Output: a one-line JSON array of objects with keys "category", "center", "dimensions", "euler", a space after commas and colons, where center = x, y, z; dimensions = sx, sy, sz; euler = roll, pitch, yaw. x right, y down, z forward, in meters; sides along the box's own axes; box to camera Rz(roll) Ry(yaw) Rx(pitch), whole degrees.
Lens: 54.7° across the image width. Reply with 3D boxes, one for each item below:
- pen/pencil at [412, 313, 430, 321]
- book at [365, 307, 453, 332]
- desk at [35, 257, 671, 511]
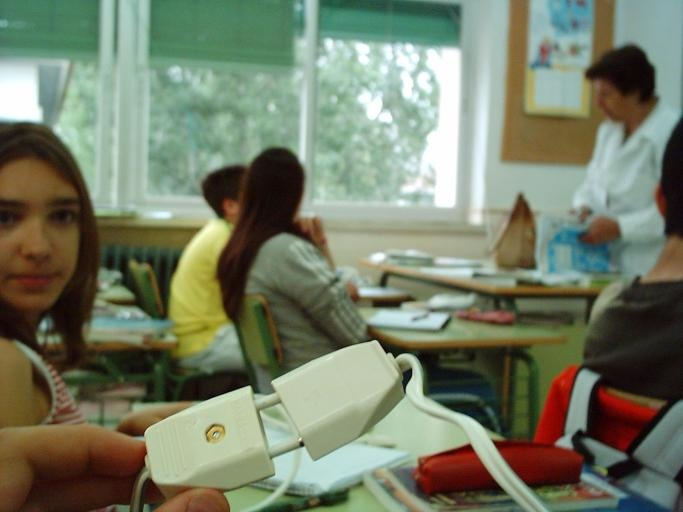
[{"category": "pen/pencil", "center": [0.127, 0.099, 1.053], "dimensions": [0.021, 0.006, 0.004], "euler": [-24, 5, -15]}, {"category": "book", "center": [0.108, 0.102, 1.054], "dimensions": [0.088, 0.013, 0.054], "euler": [2, 25, 9]}, {"category": "desk", "center": [-0.032, 0.185, 0.778], "dimensions": [0.553, 0.225, 0.327], "euler": [4, 9, 16]}]
